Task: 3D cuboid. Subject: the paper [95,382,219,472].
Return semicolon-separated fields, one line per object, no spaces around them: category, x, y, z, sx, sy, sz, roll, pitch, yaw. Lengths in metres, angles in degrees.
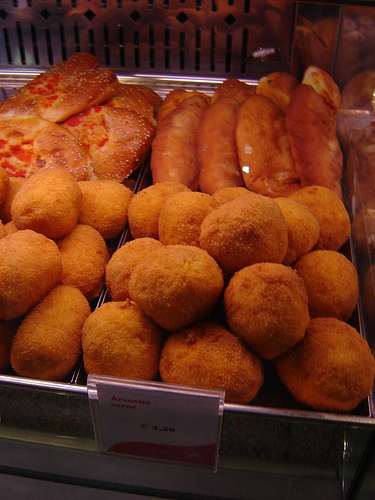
paper;-0.042;0.258;0.654;0.228;0.165;0.024;7;39;8
